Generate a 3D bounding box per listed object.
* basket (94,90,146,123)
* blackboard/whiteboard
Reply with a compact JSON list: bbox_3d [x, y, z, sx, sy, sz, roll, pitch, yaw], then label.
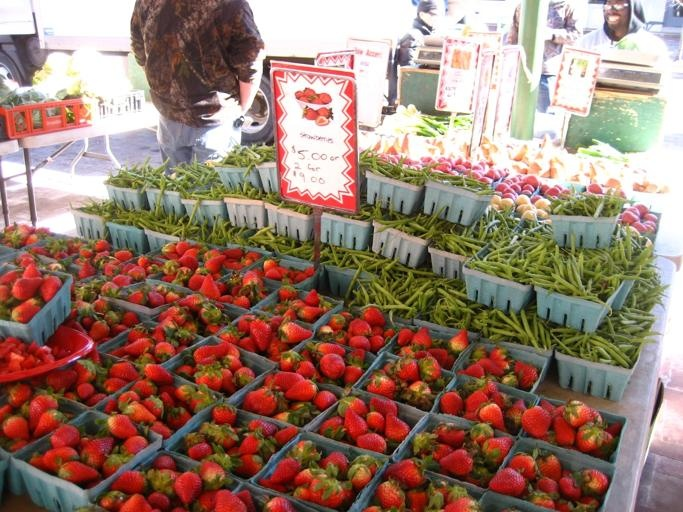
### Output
[{"bbox_3d":[-3.079,-2.133,6.569,0.600,0.138,0.547,-6,28,-9],"label":"basket"},{"bbox_3d":[1.126,-2.418,6.861,0.568,0.595,0.181,7,31,10],"label":"blackboard/whiteboard"}]
